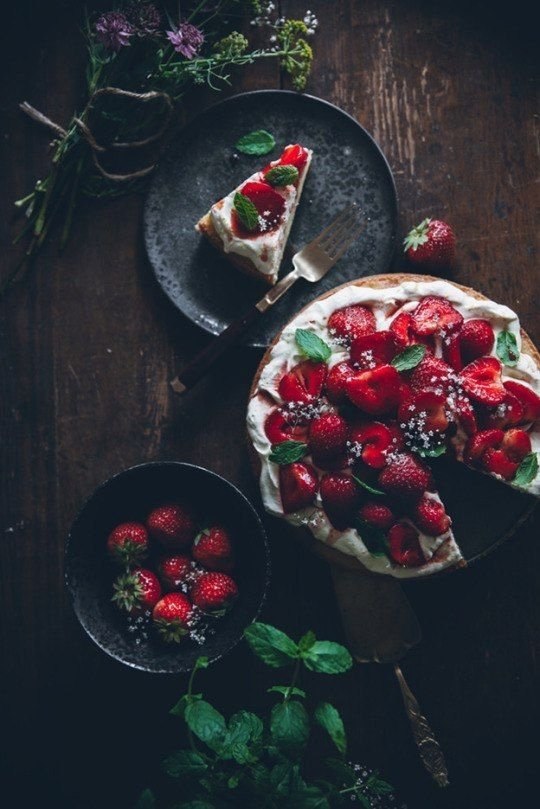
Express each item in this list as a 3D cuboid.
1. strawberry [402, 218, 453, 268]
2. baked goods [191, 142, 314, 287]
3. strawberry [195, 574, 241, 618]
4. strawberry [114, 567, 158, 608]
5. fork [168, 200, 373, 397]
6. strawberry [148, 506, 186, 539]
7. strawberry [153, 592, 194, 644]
[{"bbox_3d":[0.447,-0.444,2.387,0.133,0.116,0.105,14,59,4],"label":"strawberry"},{"bbox_3d":[0.000,-0.518,2.424,0.308,0.120,0.390,41,101,8],"label":"baked goods"},{"bbox_3d":[-0.134,0.504,2.249,0.110,0.105,0.105,0,90,4],"label":"strawberry"},{"bbox_3d":[-0.353,0.485,2.226,0.079,0.090,0.079,-44,81,6],"label":"strawberry"},{"bbox_3d":[0.016,-0.309,2.310,0.761,0.088,0.108,-40,97,5],"label":"fork"},{"bbox_3d":[-0.272,0.313,2.260,0.089,0.084,0.085,-10,48,-10],"label":"strawberry"},{"bbox_3d":[-0.265,0.588,2.285,0.121,0.110,0.128,12,40,5],"label":"strawberry"}]
